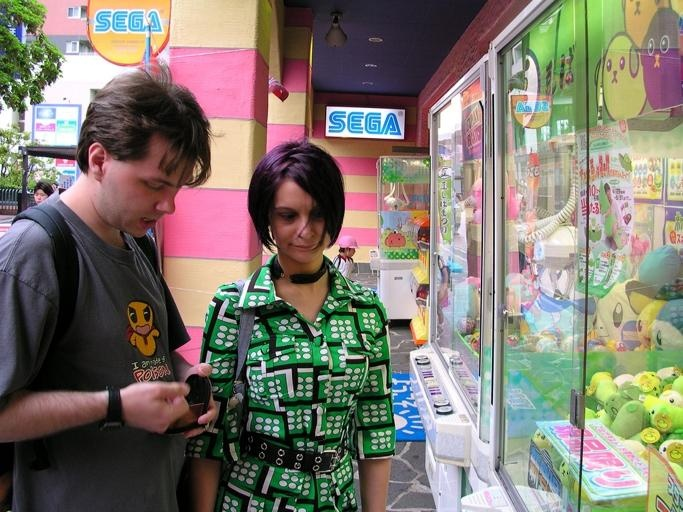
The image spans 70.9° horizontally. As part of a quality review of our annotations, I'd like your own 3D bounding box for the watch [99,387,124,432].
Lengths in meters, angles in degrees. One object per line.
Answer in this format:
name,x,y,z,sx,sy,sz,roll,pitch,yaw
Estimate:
watch,-0.496,0.335,1.054,0.051,0.081,0.084,-1,1,-14
